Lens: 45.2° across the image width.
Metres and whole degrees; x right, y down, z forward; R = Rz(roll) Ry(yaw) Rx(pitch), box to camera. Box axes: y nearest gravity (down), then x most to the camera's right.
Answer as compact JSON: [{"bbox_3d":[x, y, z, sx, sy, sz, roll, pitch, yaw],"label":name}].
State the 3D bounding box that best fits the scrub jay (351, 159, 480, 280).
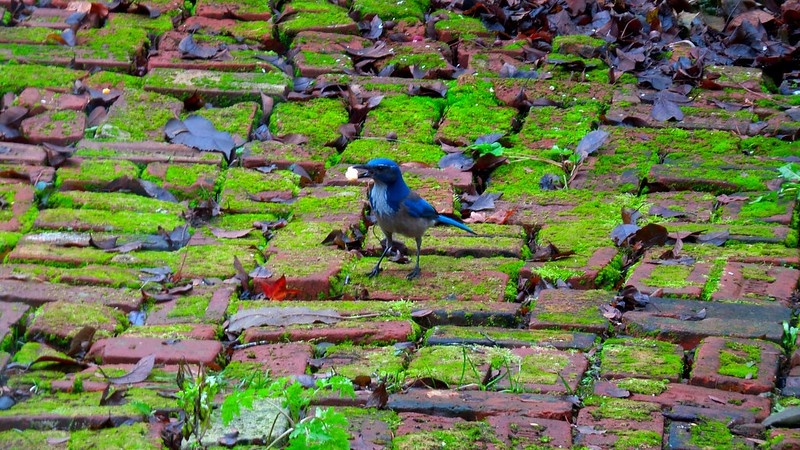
[{"bbox_3d":[0.087,-0.050,7.437,0.402,0.850,1.244,0,1,44],"label":"scrub jay"}]
